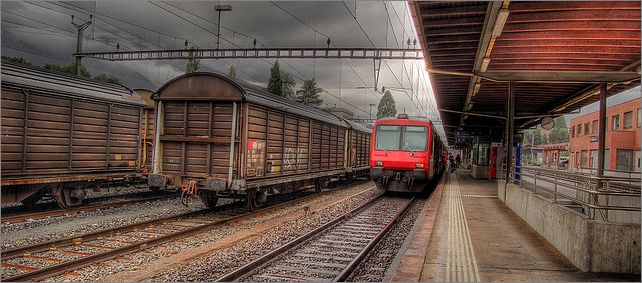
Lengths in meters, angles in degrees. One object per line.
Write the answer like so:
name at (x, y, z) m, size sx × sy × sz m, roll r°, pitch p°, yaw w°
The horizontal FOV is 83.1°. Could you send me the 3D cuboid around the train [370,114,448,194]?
train at (6.119, 0.804, 26.103) m, size 5.224 × 5.492 × 2.441 m, roll -1°, pitch -4°, yaw -6°
